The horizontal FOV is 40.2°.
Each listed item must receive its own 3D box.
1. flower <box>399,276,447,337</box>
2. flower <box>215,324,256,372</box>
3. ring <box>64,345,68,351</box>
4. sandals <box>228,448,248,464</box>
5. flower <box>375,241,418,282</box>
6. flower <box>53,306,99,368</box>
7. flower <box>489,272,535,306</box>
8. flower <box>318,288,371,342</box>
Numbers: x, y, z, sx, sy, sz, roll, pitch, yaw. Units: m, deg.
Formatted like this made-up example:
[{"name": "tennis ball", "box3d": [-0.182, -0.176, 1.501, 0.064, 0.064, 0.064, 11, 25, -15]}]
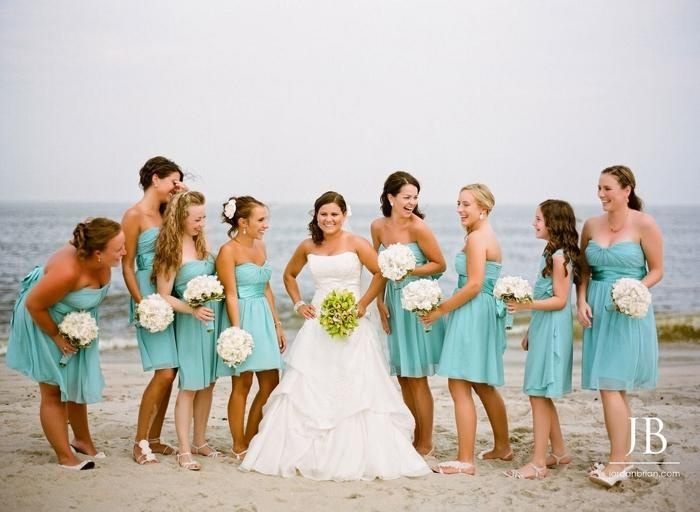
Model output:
[{"name": "flower", "box3d": [1.765, 1.113, 24.466, 0.841, 0.932, 0.889, 16, 29, -2]}, {"name": "flower", "box3d": [-2.937, 2.312, 24.563, 0.967, 0.945, 0.951, 43, -9, -35]}, {"name": "ring", "box3d": [-7.112, 2.339, 24.087, 0.075, 0.114, 0.034, 0, 7, -4]}, {"name": "sandals", "box3d": [-2.861, 5.153, 24.684, 0.366, 0.293, 0.275, -2, -20, 10]}, {"name": "flower", "box3d": [1.306, 0.211, 24.568, 0.909, 0.876, 0.928, 24, 23, -52]}, {"name": "flower", "box3d": [-7.005, 1.908, 24.492, 1.324, 0.952, 1.001, -15, -1, 38]}, {"name": "flower", "box3d": [4.157, 0.823, 24.294, 0.689, 0.670, 0.731, 0, 14, -2]}, {"name": "flower", "box3d": [-0.318, 1.337, 24.551, 1.054, 0.524, 1.140, 3, 27, 43]}]
